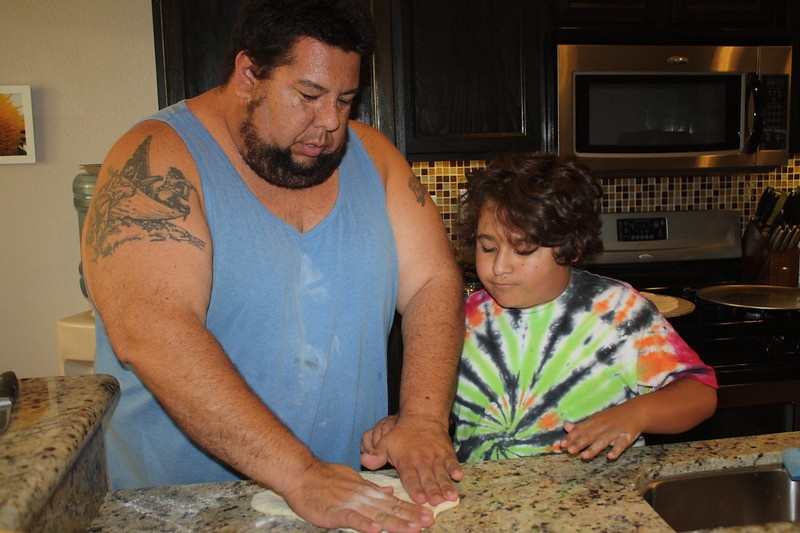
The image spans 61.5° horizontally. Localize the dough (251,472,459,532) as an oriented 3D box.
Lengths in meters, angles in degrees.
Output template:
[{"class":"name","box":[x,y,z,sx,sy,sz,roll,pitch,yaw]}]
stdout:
[{"class":"dough","box":[-0.106,0.515,1.478,0.425,0.053,0.239,-5,9,-17]}]
